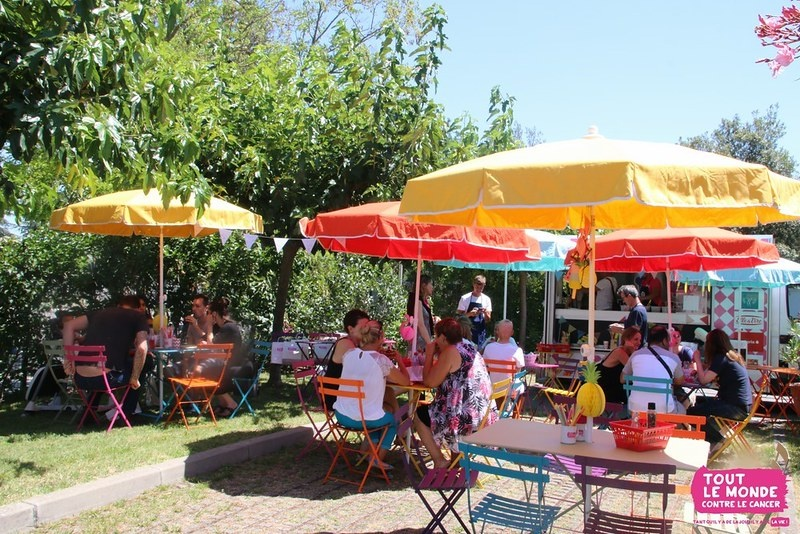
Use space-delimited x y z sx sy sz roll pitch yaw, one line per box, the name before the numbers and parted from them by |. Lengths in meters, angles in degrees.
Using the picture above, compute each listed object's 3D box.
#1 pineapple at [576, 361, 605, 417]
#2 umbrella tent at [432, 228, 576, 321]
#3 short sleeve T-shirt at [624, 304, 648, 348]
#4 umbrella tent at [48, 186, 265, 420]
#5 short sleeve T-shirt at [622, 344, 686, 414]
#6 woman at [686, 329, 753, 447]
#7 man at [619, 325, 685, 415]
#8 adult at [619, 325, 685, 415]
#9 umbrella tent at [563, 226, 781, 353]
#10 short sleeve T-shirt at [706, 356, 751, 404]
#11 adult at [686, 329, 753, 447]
pineapple | 1.868 1.209 6.857 0.252 0.564 0.423 -3 -2 17
umbrella tent | 1.928 -0.160 14.932 2.024 1.358 2.072 -8 11 -39
short sleeve T-shirt | 3.585 0.900 10.566 0.331 0.656 0.577 2 -3 24
umbrella tent | -3.359 0.370 11.339 3.308 3.595 3.372 -4 -4 34
short sleeve T-shirt | 3.202 1.449 8.791 0.757 0.931 0.565 1 -3 24
woman | 4.488 1.747 9.801 0.920 1.781 0.703 3 -8 38
man | 3.255 1.266 8.985 0.775 1.137 0.840 5 9 40
adult | 3.269 1.323 8.940 0.796 1.116 0.831 2 0 15
umbrella tent | 4.485 -0.068 11.008 2.376 1.635 2.556 -4 -1 22
short sleeve T-shirt | 4.521 1.549 9.590 0.791 0.797 0.457 -1 -2 21
adult | 4.514 1.754 9.785 0.853 1.782 0.719 2 -9 38
